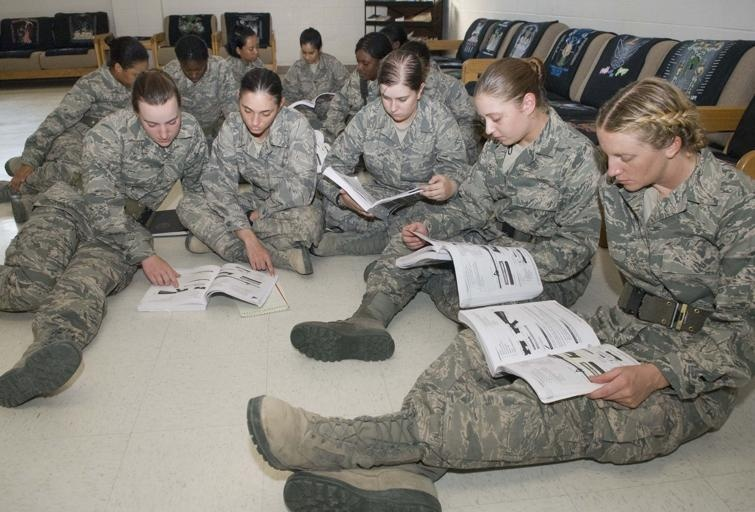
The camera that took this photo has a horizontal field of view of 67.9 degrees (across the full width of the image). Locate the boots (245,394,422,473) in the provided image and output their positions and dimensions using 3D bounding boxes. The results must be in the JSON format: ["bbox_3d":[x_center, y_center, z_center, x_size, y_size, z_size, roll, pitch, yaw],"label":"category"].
[{"bbox_3d":[-0.153,0.634,1.927,0.734,0.322,0.225,10,63,-17],"label":"boots"}]

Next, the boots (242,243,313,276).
[{"bbox_3d":[-0.491,0.023,3.029,0.256,0.089,0.189,15,42,6],"label":"boots"}]

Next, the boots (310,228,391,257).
[{"bbox_3d":[-0.144,-0.062,3.229,0.345,0.104,0.181,-4,12,0],"label":"boots"}]

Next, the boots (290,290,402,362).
[{"bbox_3d":[-0.125,0.317,2.466,0.528,0.200,0.500,4,19,-2],"label":"boots"}]
